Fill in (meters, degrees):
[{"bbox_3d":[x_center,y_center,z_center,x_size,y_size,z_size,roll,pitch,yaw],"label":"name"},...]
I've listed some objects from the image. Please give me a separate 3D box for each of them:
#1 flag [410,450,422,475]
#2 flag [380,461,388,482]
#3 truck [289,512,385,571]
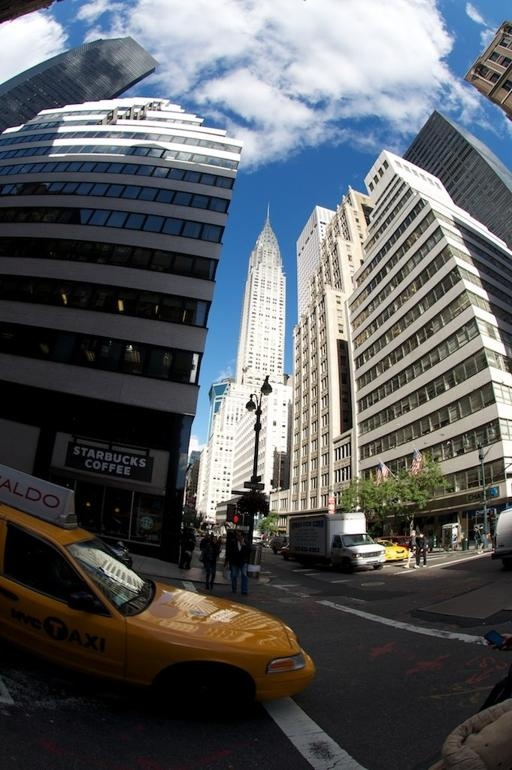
[{"bbox_3d":[11.424,5.480,35.693,0.646,1.675,0.822,4,-17,0],"label":"flag"},{"bbox_3d":[10.232,7.059,39.934,0.516,1.194,2.143,-3,-18,21],"label":"flag"},{"bbox_3d":[4.112,7.437,23.627,2.346,2.666,5.323,9,-28,-18],"label":"truck"}]
